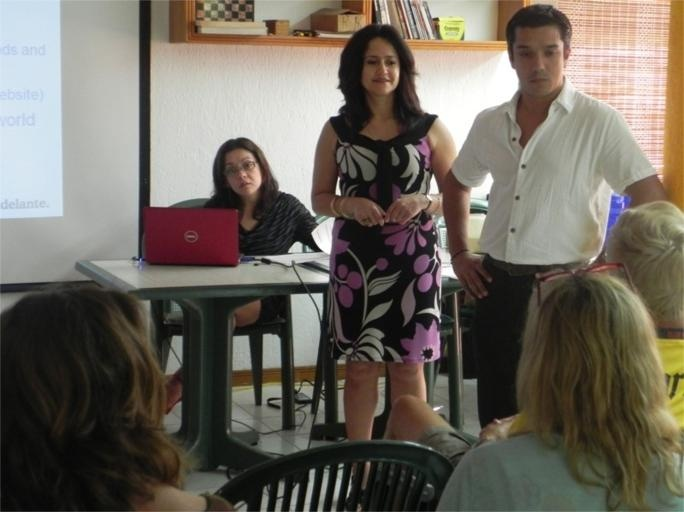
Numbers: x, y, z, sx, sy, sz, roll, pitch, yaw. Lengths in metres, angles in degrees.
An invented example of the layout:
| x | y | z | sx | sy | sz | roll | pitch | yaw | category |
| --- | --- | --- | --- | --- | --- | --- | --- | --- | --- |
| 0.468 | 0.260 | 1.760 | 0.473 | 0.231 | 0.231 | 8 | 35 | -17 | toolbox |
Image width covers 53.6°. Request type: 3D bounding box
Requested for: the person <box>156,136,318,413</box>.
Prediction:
| x | y | z | sx | sy | sz | roll | pitch | yaw | category |
| --- | --- | --- | --- | --- | --- | --- | --- | --- | --- |
| -0.480 | 0.087 | 3.171 | 0.755 | 1.235 | 0.607 | -2 | 4 | -16 | person |

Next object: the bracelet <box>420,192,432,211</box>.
| x | y | z | sx | sy | sz | roll | pitch | yaw | category |
| --- | --- | --- | --- | --- | --- | --- | --- | --- | --- |
| 0.254 | -0.172 | 2.062 | 0.014 | 0.040 | 0.032 | 7 | -2 | -43 | bracelet |

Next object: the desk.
| x | y | z | sx | sy | sz | roll | pitch | yaw | category |
| --- | --- | --- | --- | --- | --- | --- | --- | --- | --- |
| -0.359 | 0.458 | 2.870 | 0.700 | 0.703 | 1.370 | -5 | -3 | 20 | desk |

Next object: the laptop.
| x | y | z | sx | sy | sz | roll | pitch | yaw | category |
| --- | --- | --- | --- | --- | --- | --- | --- | --- | --- |
| -0.558 | -0.066 | 2.477 | 0.306 | 0.213 | 0.225 | 2 | 7 | 2 | laptop |

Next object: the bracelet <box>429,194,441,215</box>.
| x | y | z | sx | sy | sz | roll | pitch | yaw | category |
| --- | --- | --- | --- | --- | --- | --- | --- | --- | --- |
| 0.287 | -0.160 | 2.119 | 0.040 | 0.059 | 0.021 | -1 | 22 | 0 | bracelet |

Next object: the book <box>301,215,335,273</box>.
| x | y | z | sx | sy | sz | roll | pitch | yaw | category |
| --- | --- | --- | --- | --- | --- | --- | --- | --- | --- |
| -0.095 | -0.051 | 2.689 | 0.166 | 0.236 | 0.187 | -3 | 1 | -14 | book |

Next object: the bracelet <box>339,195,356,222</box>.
| x | y | z | sx | sy | sz | roll | pitch | yaw | category |
| --- | --- | --- | --- | --- | --- | --- | --- | --- | --- |
| 0.007 | -0.150 | 2.072 | 0.044 | 0.065 | 0.032 | 0 | 1 | 1 | bracelet |
